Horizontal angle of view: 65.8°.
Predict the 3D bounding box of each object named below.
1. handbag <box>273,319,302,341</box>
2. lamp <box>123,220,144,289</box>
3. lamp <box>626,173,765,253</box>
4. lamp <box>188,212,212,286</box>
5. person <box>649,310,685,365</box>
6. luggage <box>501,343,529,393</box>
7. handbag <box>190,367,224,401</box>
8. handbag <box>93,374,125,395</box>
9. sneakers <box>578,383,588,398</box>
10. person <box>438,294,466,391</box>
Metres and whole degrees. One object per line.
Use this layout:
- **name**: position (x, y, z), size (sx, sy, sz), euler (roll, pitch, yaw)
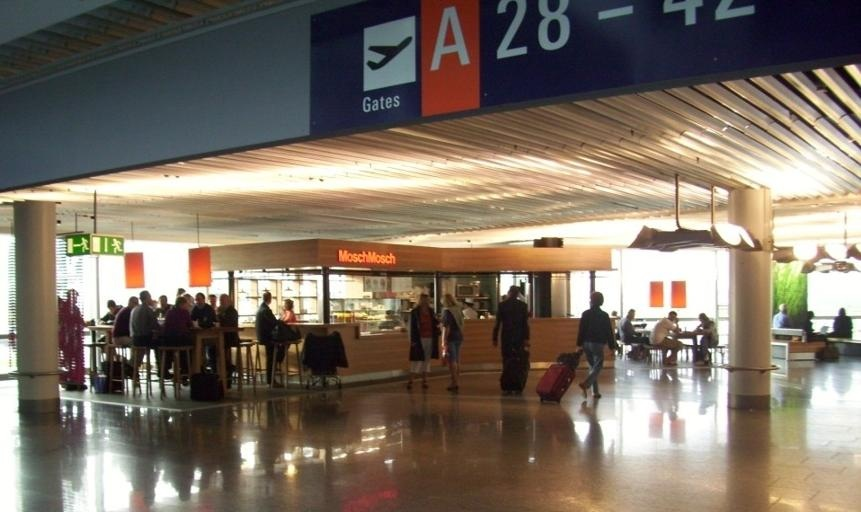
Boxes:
- **handbag**: position (-2.880, 1.544, 13.619), size (0.385, 0.478, 0.562), euler (-14, -16, 32)
- **lamp**: position (-7.167, 0.299, 16.103), size (0.388, 0.861, 0.539), euler (1, -5, -30)
- **lamp**: position (4.739, -0.972, 11.868), size (2.833, 1.504, 1.473), euler (0, 0, 31)
- **lamp**: position (-5.718, -0.080, 16.627), size (0.516, 1.643, 2.485), euler (0, -5, -18)
- **person**: position (6.403, 2.174, 17.926), size (1.055, 1.347, 0.964), euler (-1, -3, -28)
- **luggage**: position (1.704, 2.246, 13.315), size (0.578, 0.912, 0.370), euler (-1, -5, -2)
- **handbag**: position (-4.286, 2.502, 12.912), size (0.625, 0.465, 0.569), euler (0, -3, 15)
- **handbag**: position (-6.602, 2.647, 13.717), size (0.422, 0.301, 0.495), euler (3, -2, -37)
- **sneakers**: position (2.901, 2.549, 12.585), size (0.130, 0.319, 0.234), euler (-16, -26, 2)
- **person**: position (0.482, 1.760, 13.707), size (0.372, 1.959, 0.764), euler (-2, -5, 1)
